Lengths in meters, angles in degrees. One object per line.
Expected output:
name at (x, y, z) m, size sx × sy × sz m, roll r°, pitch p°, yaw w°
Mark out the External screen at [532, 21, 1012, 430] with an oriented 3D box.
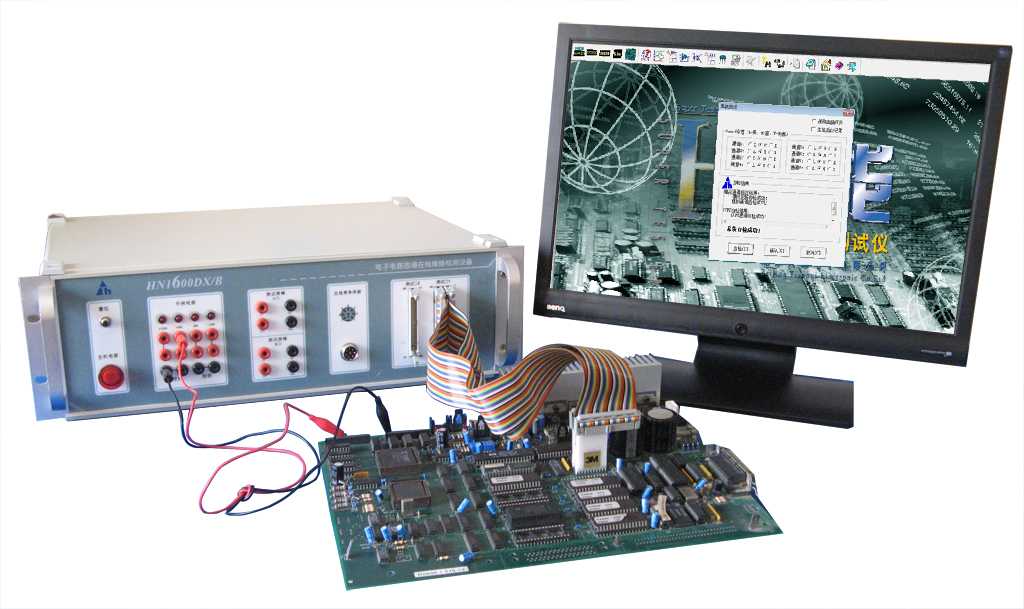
External screen at (1.823, -0.595, 6.546) m, size 3.296 × 2.676 × 1.039 m, roll 8°, pitch 19°, yaw 24°
